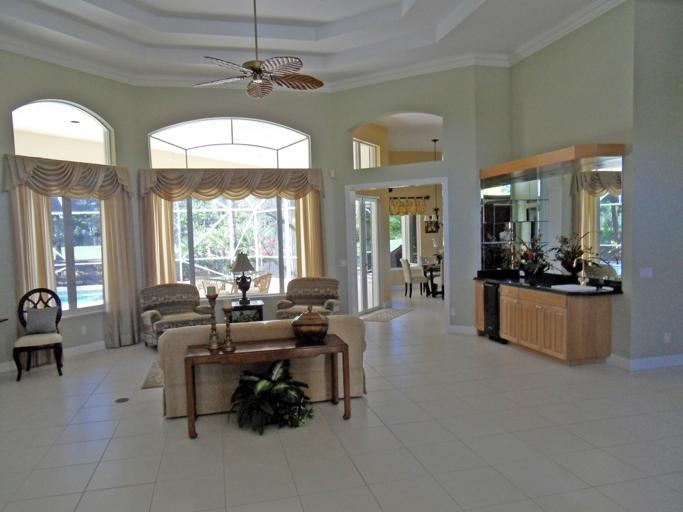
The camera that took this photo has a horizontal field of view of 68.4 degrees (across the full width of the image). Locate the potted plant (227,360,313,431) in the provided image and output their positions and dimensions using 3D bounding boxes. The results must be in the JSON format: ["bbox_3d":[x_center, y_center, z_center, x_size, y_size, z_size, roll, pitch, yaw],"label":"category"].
[{"bbox_3d":[-0.732,1.426,5.313,0.865,0.595,0.615,-4,9,-14],"label":"potted plant"}]

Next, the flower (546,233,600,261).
[{"bbox_3d":[3.279,-0.134,7.165,0.320,0.205,0.332,9,-17,34],"label":"flower"}]

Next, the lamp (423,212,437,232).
[{"bbox_3d":[2.592,-0.952,14.504,0.445,0.600,0.413,-1,-1,-6],"label":"lamp"}]

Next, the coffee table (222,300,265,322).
[{"bbox_3d":[-1.527,0.841,7.770,0.572,0.546,0.372,-1,5,-9],"label":"coffee table"}]

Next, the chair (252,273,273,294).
[{"bbox_3d":[-1.493,0.500,9.375,0.342,0.443,0.352,2,-3,-13],"label":"chair"}]

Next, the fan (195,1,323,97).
[{"bbox_3d":[-1.224,-3.135,7.420,1.169,1.138,1.141,-20,-22,37],"label":"fan"}]

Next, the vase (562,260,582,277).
[{"bbox_3d":[3.305,0.146,7.161,0.195,0.141,0.197,2,-2,-28],"label":"vase"}]

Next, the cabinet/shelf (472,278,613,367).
[{"bbox_3d":[2.946,0.890,7.569,0.723,1.025,2.160,-2,4,-18],"label":"cabinet/shelf"}]

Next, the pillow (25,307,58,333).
[{"bbox_3d":[-4.268,0.896,7.110,0.329,0.338,0.119,-3,-4,-19],"label":"pillow"}]

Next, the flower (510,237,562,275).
[{"bbox_3d":[3.047,0.018,8.075,0.763,0.526,0.866,13,18,11],"label":"flower"}]

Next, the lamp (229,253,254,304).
[{"bbox_3d":[-1.734,0.353,8.822,0.367,0.865,0.883,-3,9,-11],"label":"lamp"}]

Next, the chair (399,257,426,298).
[{"bbox_3d":[1.898,0.553,13.014,0.728,0.956,0.697,-2,1,22],"label":"chair"}]

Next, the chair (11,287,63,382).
[{"bbox_3d":[-4.226,1.046,7.041,0.707,1.118,0.644,1,4,3],"label":"chair"}]

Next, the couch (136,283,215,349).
[{"bbox_3d":[-2.677,0.836,8.364,1.307,1.222,1.003,0,-4,-34],"label":"couch"}]
